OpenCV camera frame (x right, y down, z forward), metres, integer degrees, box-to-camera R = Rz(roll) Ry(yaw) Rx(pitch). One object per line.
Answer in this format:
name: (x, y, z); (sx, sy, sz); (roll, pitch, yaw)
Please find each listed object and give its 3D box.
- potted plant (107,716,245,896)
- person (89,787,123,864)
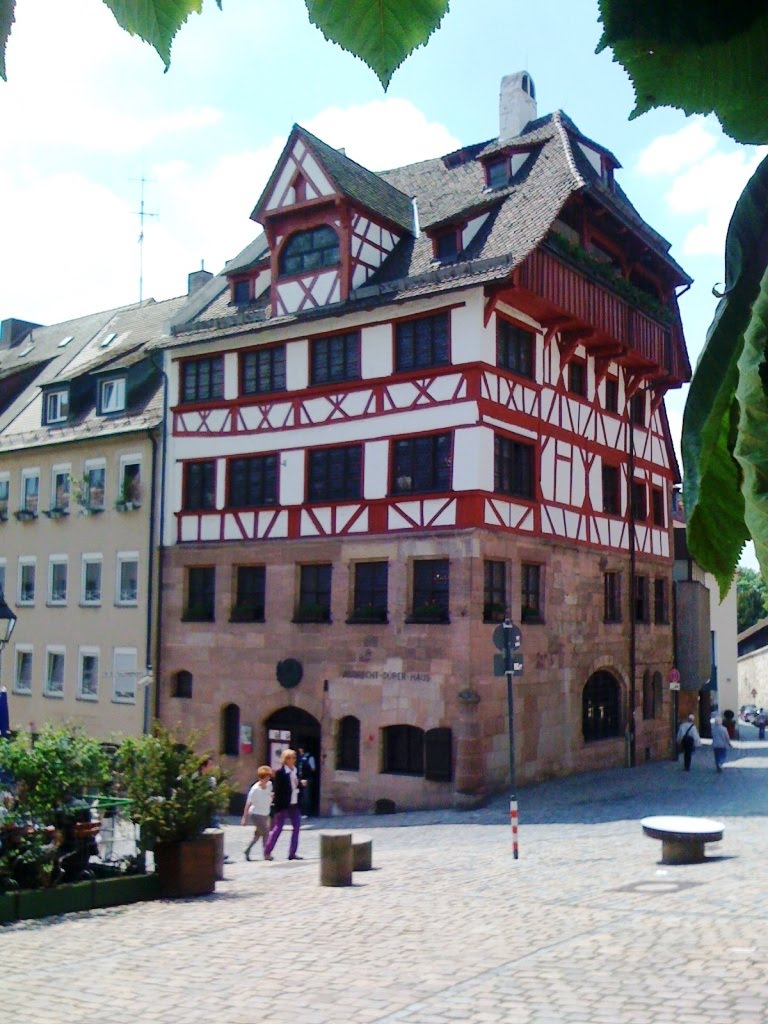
potted plant: (-2.404, 3.485, 13.164); (1.253, 1.852, 0.774); (1, -15, -9)
person: (-3.026, 3.496, 12.711); (0.370, 0.714, 0.416); (-2, -8, 7)
